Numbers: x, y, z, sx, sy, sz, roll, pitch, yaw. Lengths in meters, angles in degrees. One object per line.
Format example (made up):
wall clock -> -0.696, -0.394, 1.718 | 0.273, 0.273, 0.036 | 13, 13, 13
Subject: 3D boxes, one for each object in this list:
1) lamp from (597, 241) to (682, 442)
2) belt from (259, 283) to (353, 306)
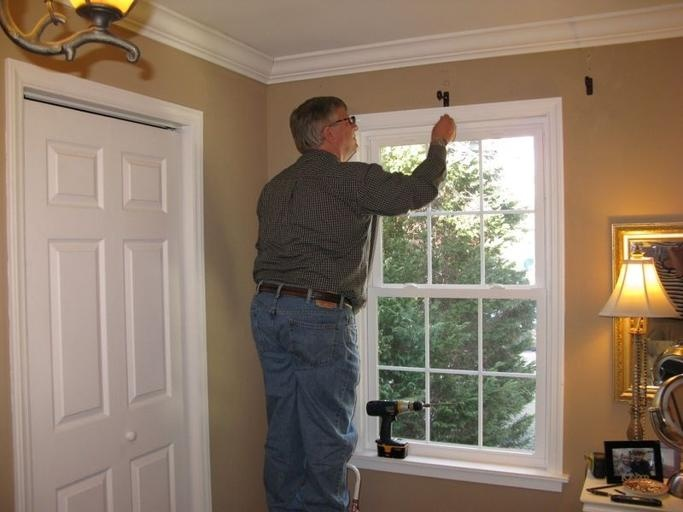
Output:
lamp -> 1.581, 0.453, 3.206 | 0.367, 1.042, 0.342 | 0, -4, 31
belt -> -0.205, 0.182, 2.928 | 0.426, 0.096, 0.122 | 1, -3, 25
